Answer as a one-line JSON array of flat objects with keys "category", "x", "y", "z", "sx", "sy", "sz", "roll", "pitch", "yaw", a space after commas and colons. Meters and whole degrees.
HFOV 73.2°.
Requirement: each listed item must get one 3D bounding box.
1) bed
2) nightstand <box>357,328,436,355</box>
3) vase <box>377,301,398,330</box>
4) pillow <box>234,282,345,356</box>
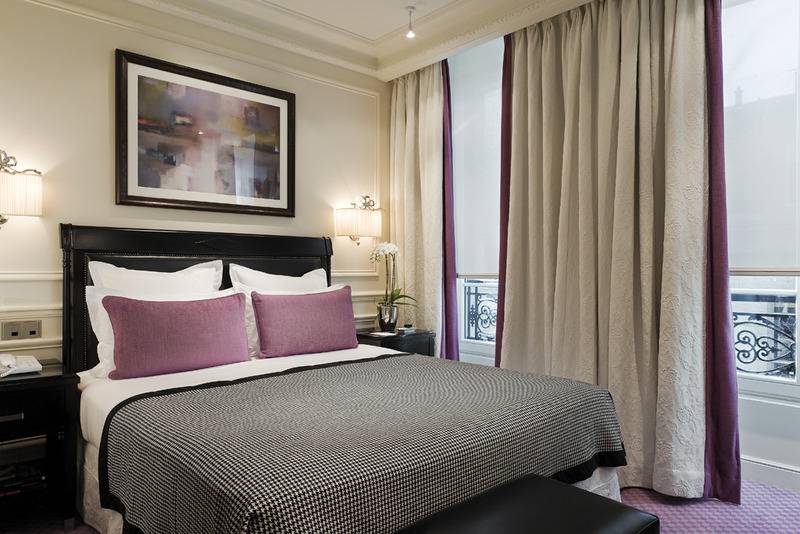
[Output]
[{"category": "bed", "x": -0.387, "y": 0.653, "z": 3.396, "sx": 2.143, "sy": 1.948, "sz": 0.779, "roll": 1, "pitch": -3, "yaw": -42}, {"category": "nightstand", "x": -0.009, "y": 0.668, "z": 4.944, "sx": 0.375, "sy": 0.350, "sz": 0.375, "roll": 1, "pitch": -2, "yaw": -42}, {"category": "vase", "x": -0.121, "y": 0.466, "z": 5.056, "sx": 0.239, "sy": 0.268, "sz": 0.237, "roll": 0, "pitch": -4, "yaw": 14}, {"category": "pillow", "x": -0.853, "y": 0.415, "z": 4.092, "sx": 0.526, "sy": 0.312, "sz": 0.181, "roll": -5, "pitch": -30, "yaw": -30}]
